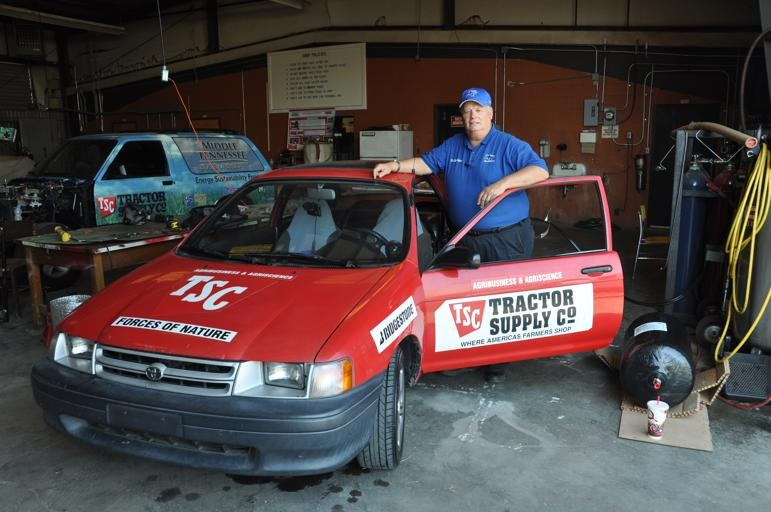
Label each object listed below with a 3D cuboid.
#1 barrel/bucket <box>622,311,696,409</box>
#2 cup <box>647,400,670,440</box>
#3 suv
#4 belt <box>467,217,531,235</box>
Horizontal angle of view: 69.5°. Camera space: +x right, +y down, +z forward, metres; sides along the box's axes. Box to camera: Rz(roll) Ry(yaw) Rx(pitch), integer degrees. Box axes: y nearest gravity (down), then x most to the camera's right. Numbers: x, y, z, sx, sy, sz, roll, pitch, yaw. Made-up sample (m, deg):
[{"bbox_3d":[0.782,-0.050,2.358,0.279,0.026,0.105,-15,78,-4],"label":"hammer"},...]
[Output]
[{"bbox_3d":[2.295,0.842,4.685,0.504,0.827,0.499,-10,18,3],"label":"barrel/bucket"},{"bbox_3d":[2.145,1.263,4.390,0.144,0.268,0.297,6,17,27],"label":"cup"},{"bbox_3d":[-3.771,-0.919,8.647,1.975,1.705,3.636,8,13,42],"label":"suv"},{"bbox_3d":[1.007,-0.231,4.761,0.311,0.074,0.240,-9,10,-9],"label":"belt"}]
